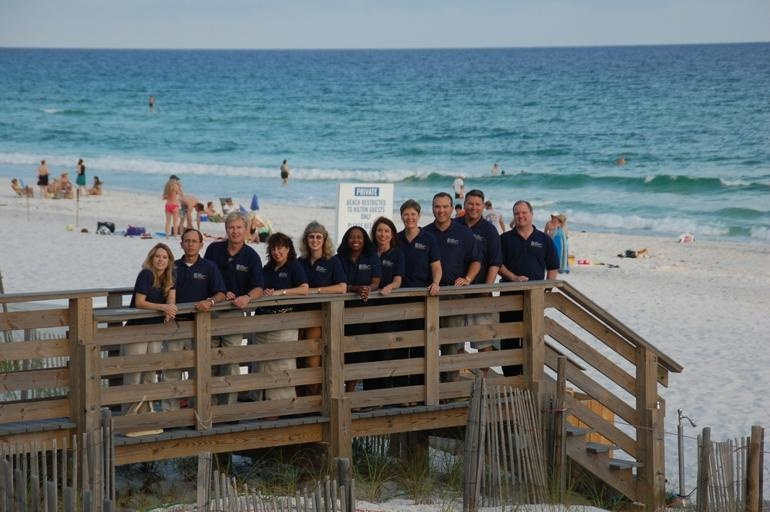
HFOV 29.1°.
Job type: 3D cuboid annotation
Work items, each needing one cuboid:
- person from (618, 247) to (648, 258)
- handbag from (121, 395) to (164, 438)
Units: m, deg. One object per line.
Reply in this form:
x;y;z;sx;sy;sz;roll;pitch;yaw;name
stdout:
12.485;-0.060;74.843;1.423;0.375;1.315;1;7;11;person
-8.743;6.014;53.361;1.443;1.351;0.358;-1;-10;-10;handbag
